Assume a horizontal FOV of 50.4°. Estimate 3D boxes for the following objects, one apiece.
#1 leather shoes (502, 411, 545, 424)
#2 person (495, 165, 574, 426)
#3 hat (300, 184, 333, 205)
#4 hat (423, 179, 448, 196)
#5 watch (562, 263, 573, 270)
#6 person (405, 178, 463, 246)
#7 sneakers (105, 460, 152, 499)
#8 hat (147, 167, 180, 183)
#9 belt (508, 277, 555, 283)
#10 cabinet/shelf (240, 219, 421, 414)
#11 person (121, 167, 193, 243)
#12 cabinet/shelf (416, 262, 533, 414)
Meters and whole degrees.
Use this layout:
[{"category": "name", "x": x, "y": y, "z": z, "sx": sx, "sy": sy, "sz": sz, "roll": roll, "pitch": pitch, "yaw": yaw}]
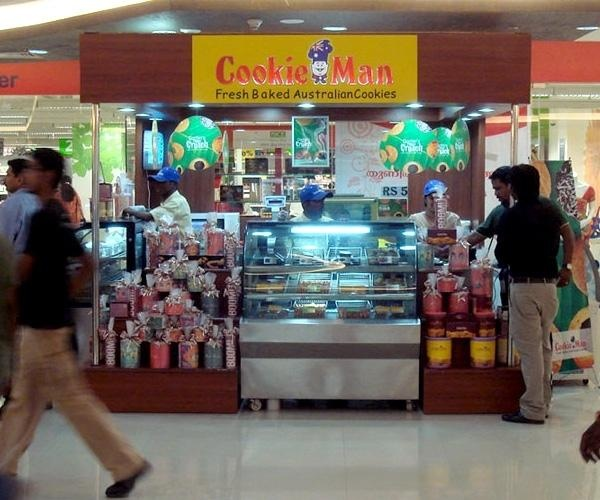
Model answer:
[{"category": "leather shoes", "x": 1.785, "y": 1.342, "z": 5.113, "sx": 0.326, "sy": 0.114, "sz": 0.113, "roll": 5, "pitch": -4, "yaw": 9}, {"category": "person", "x": 1.875, "y": 0.339, "z": 5.135, "sx": 0.556, "sy": 2.054, "sz": 0.342, "roll": -2, "pitch": 5, "yaw": -30}, {"category": "hat", "x": 0.153, "y": -0.519, "z": 5.984, "sx": 0.277, "sy": 0.122, "sz": 0.173, "roll": -4, "pitch": 9, "yaw": 8}, {"category": "hat", "x": 1.350, "y": -0.599, "z": 6.310, "sx": 0.216, "sy": 0.136, "sz": 0.286, "roll": 0, "pitch": 3, "yaw": 3}, {"category": "watch", "x": 2.145, "y": 0.132, "z": 5.159, "sx": 0.091, "sy": 0.081, "sz": 0.020, "roll": 7, "pitch": -11, "yaw": -40}, {"category": "person", "x": 1.396, "y": -0.268, "z": 6.452, "sx": 0.619, "sy": 0.797, "sz": 0.513, "roll": 2, "pitch": -6, "yaw": -5}, {"category": "sneakers", "x": -1.009, "y": 1.370, "z": 3.794, "sx": 0.418, "sy": 0.164, "sz": 0.142, "roll": -25, "pitch": -32, "yaw": 32}, {"category": "hat", "x": -1.371, "y": -0.747, "z": 6.411, "sx": 0.293, "sy": 0.123, "sz": 0.179, "roll": 0, "pitch": 5, "yaw": -8}, {"category": "belt", "x": 1.826, "y": 0.234, "z": 5.011, "sx": 0.334, "sy": 0.051, "sz": 0.100, "roll": 1, "pitch": 5, "yaw": 13}, {"category": "cabinet/shelf", "x": 0.244, "y": 0.550, "z": 5.296, "sx": 1.788, "sy": 1.586, "sz": 0.924, "roll": 0, "pitch": -3, "yaw": 0}, {"category": "person", "x": -1.460, "y": -0.297, "z": 6.553, "sx": 0.795, "sy": 1.057, "sz": 0.543, "roll": -4, "pitch": 18, "yaw": -17}, {"category": "cabinet/shelf", "x": 1.409, "y": 0.847, "z": 5.590, "sx": 1.145, "sy": 0.942, "sz": 0.757, "roll": 0, "pitch": -2, "yaw": 1}]
